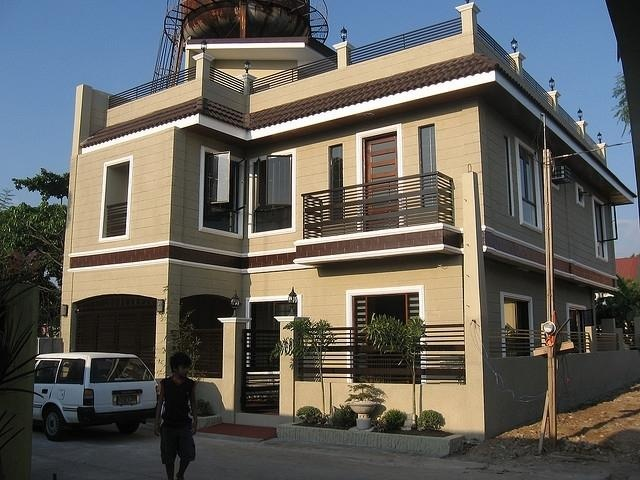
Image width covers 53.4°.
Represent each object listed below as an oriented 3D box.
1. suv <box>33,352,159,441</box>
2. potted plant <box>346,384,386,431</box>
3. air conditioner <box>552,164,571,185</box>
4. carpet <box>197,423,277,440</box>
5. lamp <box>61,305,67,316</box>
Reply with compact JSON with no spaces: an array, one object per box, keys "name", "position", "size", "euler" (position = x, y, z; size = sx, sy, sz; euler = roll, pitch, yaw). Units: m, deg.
[{"name":"suv","position":[-5.330,3.653,14.999],"size":[2.790,2.004,1.250],"euler":[5,-17,-13]},{"name":"potted plant","position":[1.054,3.944,15.081],"size":[0.839,1.005,0.885],"euler":[-2,-9,19]},{"name":"air conditioner","position":[8.134,-2.213,21.464],"size":[0.502,0.573,0.763],"euler":[-1,-4,32]},{"name":"carpet","position":[-1.991,4.794,16.120],"size":[2.195,0.433,1.342],"euler":[-10,-20,28]},{"name":"lamp","position":[-8.276,2.250,20.551],"size":[0.227,0.398,0.108],"euler":[-2,-16,9]}]
